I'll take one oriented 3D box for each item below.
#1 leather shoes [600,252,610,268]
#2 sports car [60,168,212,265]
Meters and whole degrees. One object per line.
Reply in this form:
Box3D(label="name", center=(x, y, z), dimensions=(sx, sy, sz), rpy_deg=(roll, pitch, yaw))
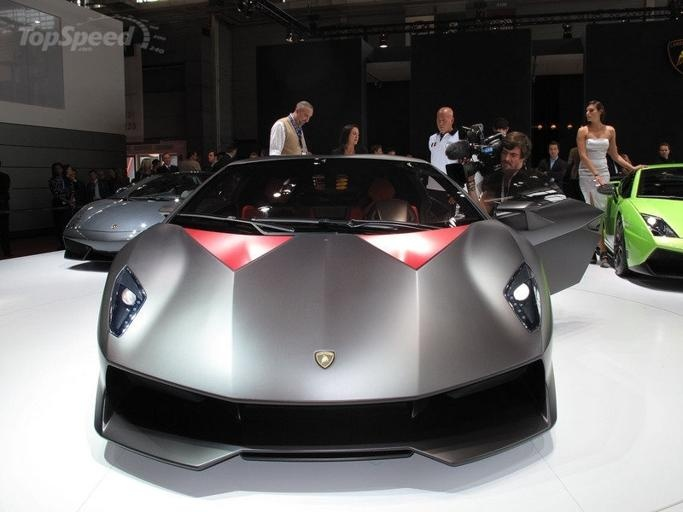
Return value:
Box3D(label="leather shoes", center=(3.192, 0.034, 5.814), dimensions=(0.100, 0.155, 0.354), rpy_deg=(-2, 10, 18))
Box3D(label="sports car", center=(-2.492, -0.485, 5.966), dimensions=(1.118, 0.829, 2.626), rpy_deg=(-1, 13, 8))
